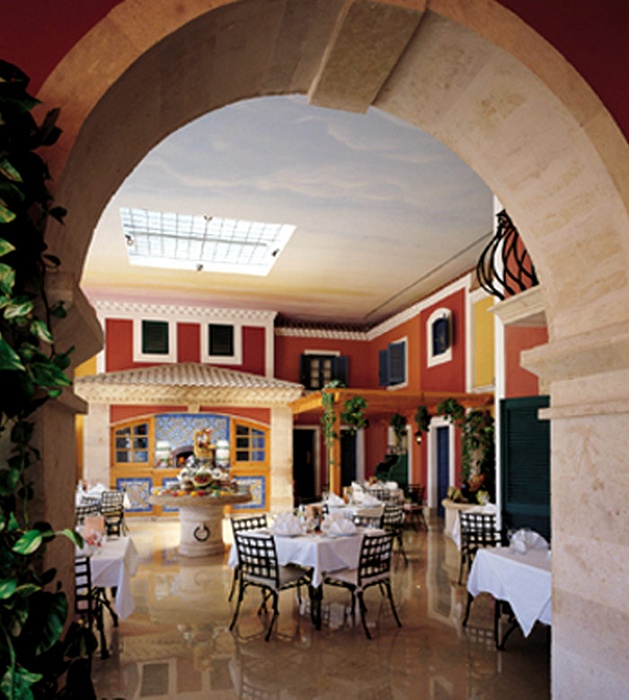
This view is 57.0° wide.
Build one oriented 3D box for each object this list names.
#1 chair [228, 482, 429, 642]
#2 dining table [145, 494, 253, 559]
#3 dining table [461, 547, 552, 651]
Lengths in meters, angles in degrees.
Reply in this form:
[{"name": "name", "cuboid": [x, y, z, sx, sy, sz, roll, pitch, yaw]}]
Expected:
[{"name": "chair", "cuboid": [0.189, 2.187, 6.298, 1.550, 0.803, 1.523, -1, -12, -12]}, {"name": "dining table", "cuboid": [-1.878, 2.794, 9.346, 1.205, 0.700, 1.199, 1, -7, -8]}, {"name": "dining table", "cuboid": [1.722, 2.147, 5.085, 0.872, 0.313, 0.879, 30, -8, 1]}]
